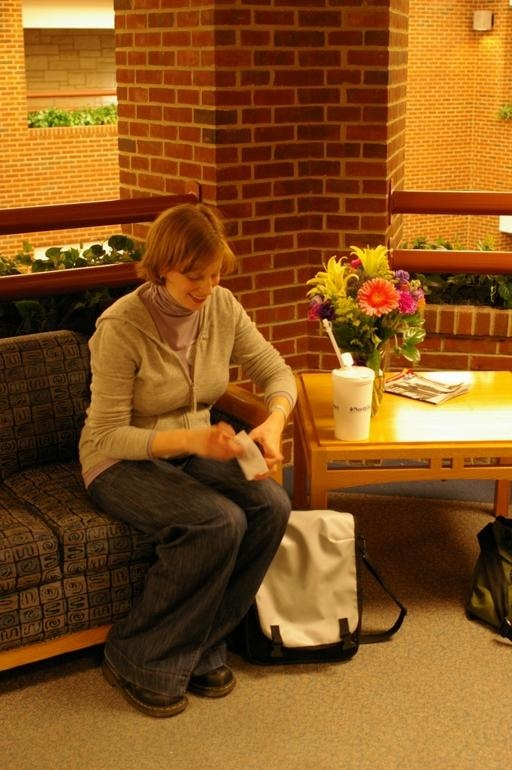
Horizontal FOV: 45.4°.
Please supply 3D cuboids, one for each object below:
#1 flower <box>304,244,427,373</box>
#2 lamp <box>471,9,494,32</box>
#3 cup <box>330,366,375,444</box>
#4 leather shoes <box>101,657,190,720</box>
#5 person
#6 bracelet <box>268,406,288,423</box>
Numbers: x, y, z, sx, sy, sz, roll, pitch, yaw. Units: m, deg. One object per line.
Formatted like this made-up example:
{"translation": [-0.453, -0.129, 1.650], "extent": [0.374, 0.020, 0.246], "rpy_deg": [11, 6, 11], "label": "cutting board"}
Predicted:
{"translation": [0.326, -0.224, 1.821], "extent": [0.327, 0.393, 0.252], "rpy_deg": [1, 6, 11], "label": "flower"}
{"translation": [4.891, -7.822, 13.159], "extent": [0.388, 0.385, 0.516], "rpy_deg": [4, 7, 27], "label": "lamp"}
{"translation": [0.280, 0.054, 1.761], "extent": [0.111, 0.212, 0.151], "rpy_deg": [1, 6, 10], "label": "cup"}
{"translation": [-0.253, 0.684, 1.397], "extent": [0.185, 0.071, 0.073], "rpy_deg": [18, 30, 31], "label": "leather shoes"}
{"translation": [-0.114, 0.126, 1.560], "extent": [0.595, 1.144, 0.513], "rpy_deg": [-4, 7, -30], "label": "person"}
{"translation": [0.059, 0.069, 1.674], "extent": [0.045, 0.044, 0.043], "rpy_deg": [-23, 44, -25], "label": "bracelet"}
